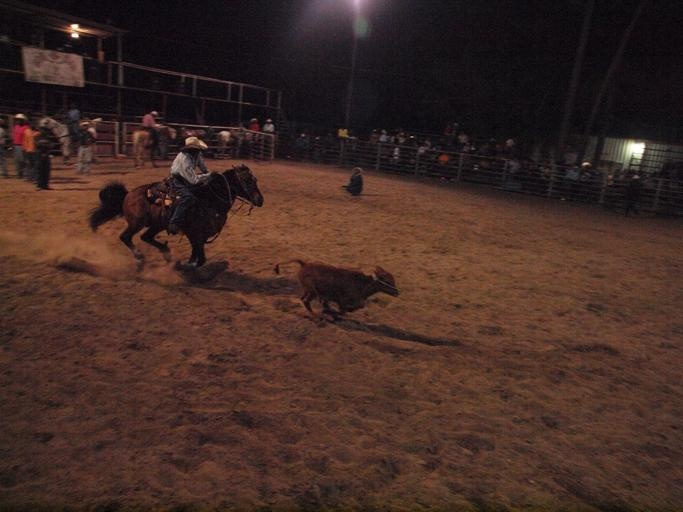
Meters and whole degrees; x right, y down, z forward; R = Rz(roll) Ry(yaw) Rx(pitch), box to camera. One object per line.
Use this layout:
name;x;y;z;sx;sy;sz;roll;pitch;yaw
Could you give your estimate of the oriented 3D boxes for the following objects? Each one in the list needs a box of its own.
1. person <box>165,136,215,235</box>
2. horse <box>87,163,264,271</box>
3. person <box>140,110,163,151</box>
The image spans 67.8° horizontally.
person;-2.691;-1.227;8.897;0.661;1.690;0.841;3;14;-16
horse;-3.077;-0.742;9.317;3.549;1.788;0.816;5;4;17
person;-7.720;-5.062;20.401;0.649;1.484;1.105;3;14;-16
